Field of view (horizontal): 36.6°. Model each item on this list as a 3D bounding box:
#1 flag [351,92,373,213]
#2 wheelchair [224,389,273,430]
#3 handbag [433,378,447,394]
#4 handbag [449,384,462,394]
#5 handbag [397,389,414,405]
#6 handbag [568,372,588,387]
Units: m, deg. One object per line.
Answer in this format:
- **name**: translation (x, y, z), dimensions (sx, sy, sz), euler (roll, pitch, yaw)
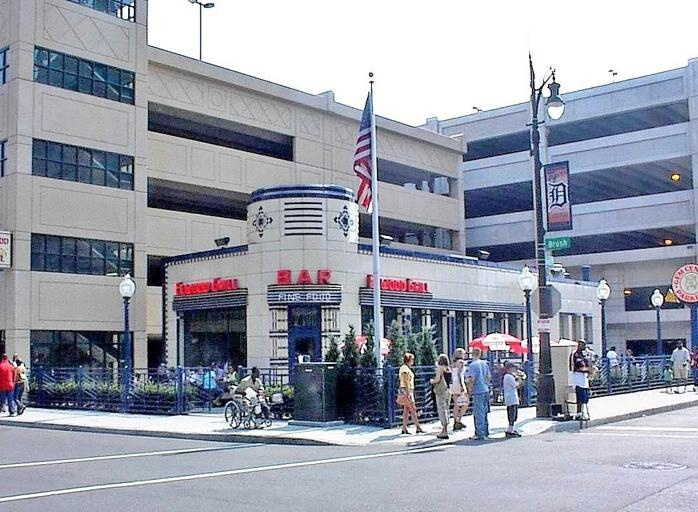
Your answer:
- **flag**: translation (0.587, -3.925, 39.005), dimensions (0.715, 4.209, 1.961), euler (-2, -12, 1)
- **wheelchair**: translation (-3.541, 5.331, 36.774), dimensions (1.210, 1.392, 1.569), euler (5, -9, -28)
- **handbag**: translation (3.020, 4.214, 34.092), dimensions (0.336, 0.650, 0.544), euler (-1, 0, -25)
- **handbag**: translation (3.531, 4.354, 34.666), dimensions (0.299, 0.345, 0.334), euler (-2, -6, 9)
- **handbag**: translation (1.842, 4.640, 34.722), dimensions (0.474, 0.401, 0.494), euler (-4, -6, 30)
- **handbag**: translation (8.053, 4.296, 36.933), dimensions (0.547, 0.483, 0.552), euler (-7, -10, 43)
